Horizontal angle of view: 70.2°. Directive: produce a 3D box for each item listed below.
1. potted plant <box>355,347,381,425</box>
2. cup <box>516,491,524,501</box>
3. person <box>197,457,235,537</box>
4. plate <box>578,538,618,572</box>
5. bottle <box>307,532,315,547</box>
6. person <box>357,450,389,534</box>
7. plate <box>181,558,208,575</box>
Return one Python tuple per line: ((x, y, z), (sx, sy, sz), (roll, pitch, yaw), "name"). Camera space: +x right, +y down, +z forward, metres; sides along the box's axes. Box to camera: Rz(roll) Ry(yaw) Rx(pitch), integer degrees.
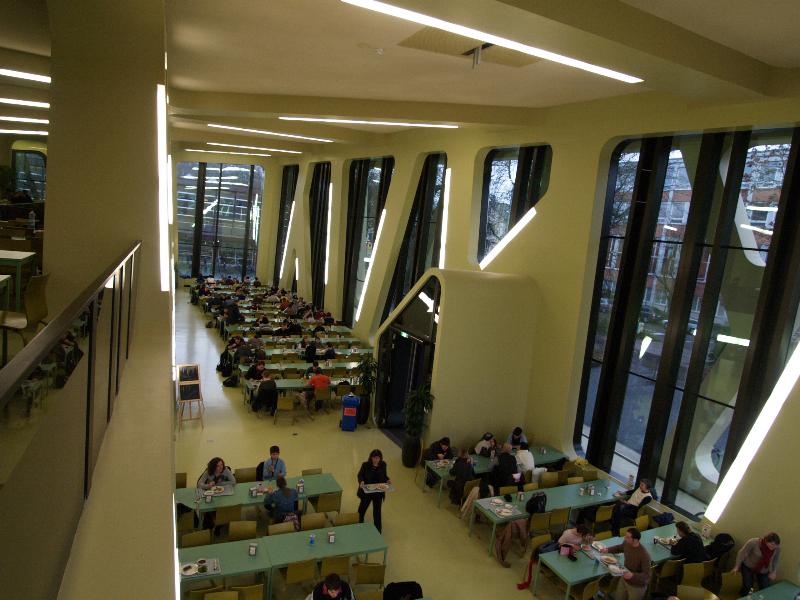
((-0.858, 2.235, 14.335), (0.486, 1.782, 0.635), (5, 9, -4), "potted plant")
((2.130, 3.475, 10.062), (0.103, 0.127, 0.131), (1, -1, 9), "cup")
((-3.131, 3.292, 9.620), (0.507, 1.307, 0.377), (-3, 12, -26), "person")
((3.072, 3.896, 8.659), (0.293, 0.101, 0.404), (9, 11, -25), "plate")
((-1.304, 3.507, 8.278), (0.089, 0.129, 0.090), (5, 5, 0), "bottle")
((-0.468, 3.353, 9.828), (0.580, 1.490, 0.704), (0, 13, -20), "person")
((-2.708, 3.479, 7.412), (0.344, 0.053, 0.312), (2, 11, -27), "plate")
